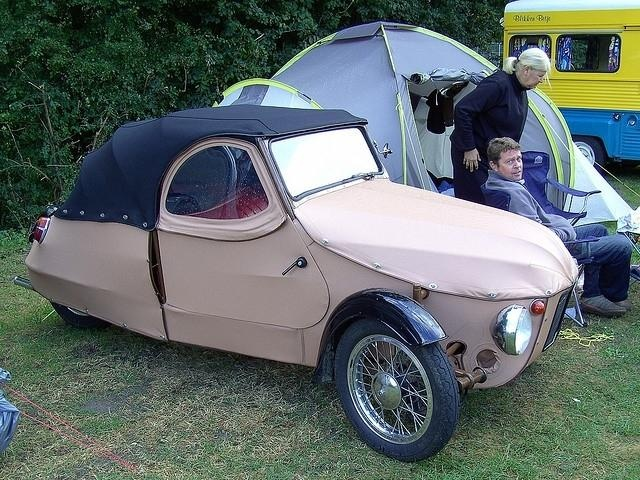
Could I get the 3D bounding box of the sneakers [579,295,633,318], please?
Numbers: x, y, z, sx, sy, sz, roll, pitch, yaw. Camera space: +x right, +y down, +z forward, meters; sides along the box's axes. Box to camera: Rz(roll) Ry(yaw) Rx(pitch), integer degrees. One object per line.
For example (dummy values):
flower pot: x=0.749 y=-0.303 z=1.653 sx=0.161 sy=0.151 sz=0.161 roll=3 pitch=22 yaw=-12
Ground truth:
sneakers: x=2.808 y=0.643 z=5.121 sx=0.472 sy=0.222 sz=0.202 roll=3 pitch=25 yaw=22

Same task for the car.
car: x=-0.052 y=0.183 z=4.355 sx=3.629 sy=1.912 sz=2.141 roll=9 pitch=24 yaw=26
